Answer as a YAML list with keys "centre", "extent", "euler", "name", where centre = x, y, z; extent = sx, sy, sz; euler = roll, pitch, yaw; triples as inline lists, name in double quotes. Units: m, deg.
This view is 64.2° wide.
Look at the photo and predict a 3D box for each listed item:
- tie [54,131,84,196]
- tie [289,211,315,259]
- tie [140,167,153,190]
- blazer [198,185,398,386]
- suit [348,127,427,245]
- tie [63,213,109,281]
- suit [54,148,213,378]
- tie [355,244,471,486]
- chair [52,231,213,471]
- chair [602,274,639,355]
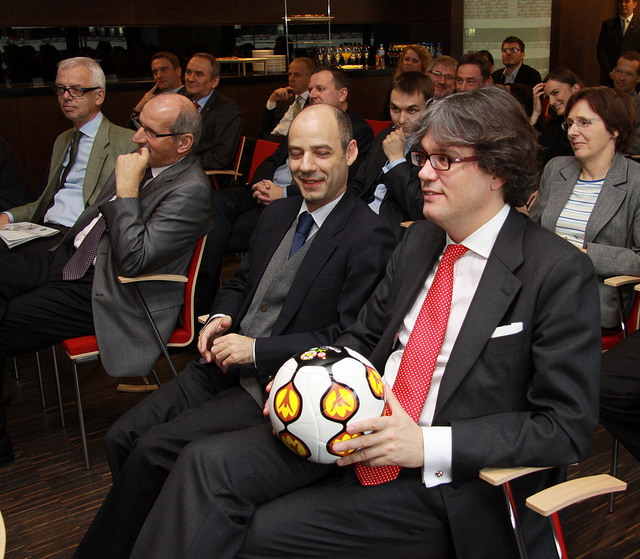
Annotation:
- centre: [-1.575, -0.747, 3.260]
  extent: [0.124, 0.369, 0.043]
  euler: [21, 0, 0]
  name: "tie"
- centre: [-0.064, -0.173, 1.851]
  extent: [0.048, 0.213, 0.032]
  euler: [17, -20, 21]
  name: "tie"
- centre: [-0.892, -0.520, 2.645]
  extent: [0.069, 0.094, 0.035]
  euler: [22, 6, 42]
  name: "tie"
- centre: [-0.092, 0.020, 1.935]
  extent: [0.453, 0.747, 0.703]
  euler: [5, 14, -40]
  name: "blazer"
- centre: [0.458, -0.537, 3.364]
  extent: [0.518, 0.835, 0.479]
  euler: [23, 29, 37]
  name: "suit"
- centre: [-1.258, -0.170, 2.652]
  extent: [0.138, 0.074, 0.497]
  euler: [8, 47, -16]
  name: "tie"
- centre: [-0.869, -0.165, 2.587]
  extent: [0.627, 1.006, 0.655]
  euler: [-17, 25, -33]
  name: "suit"
- centre: [0.273, 0.162, 1.368]
  extent: [0.193, 0.742, 0.070]
  euler: [24, -10, -12]
  name: "tie"
- centre: [-0.943, 0.307, 2.598]
  extent: [0.712, 1.011, 0.615]
  euler: [-7, 1, -37]
  name: "chair"
- centre: [1.340, 0.141, 2.287]
  extent: [0.168, 0.318, 0.272]
  euler: [14, 24, 28]
  name: "chair"
